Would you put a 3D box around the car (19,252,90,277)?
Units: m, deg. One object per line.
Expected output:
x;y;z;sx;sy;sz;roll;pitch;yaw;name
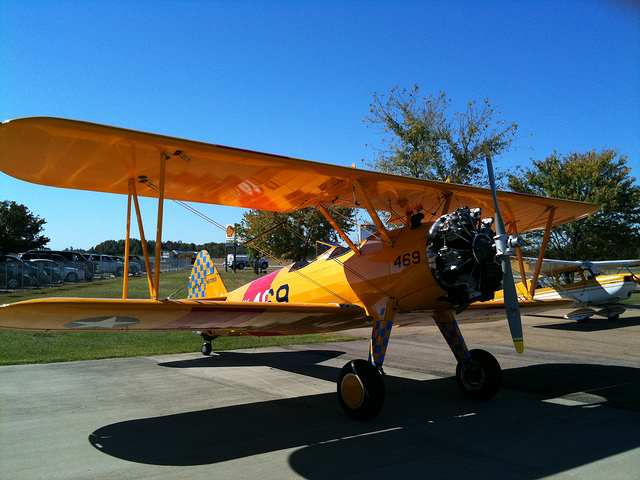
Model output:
-19.427;2.070;31.991;5.488;1.647;2.405;1;-1;-9;car

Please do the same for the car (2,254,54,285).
-15.871;1.693;23.766;2.638;1.061;1.165;15;2;-14;car

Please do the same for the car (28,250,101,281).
-19.857;2.225;35.160;8.564;2.661;2.749;-4;-8;20;car

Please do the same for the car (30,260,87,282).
-16.952;1.968;28.062;2.886;0.797;1.288;3;1;-10;car
